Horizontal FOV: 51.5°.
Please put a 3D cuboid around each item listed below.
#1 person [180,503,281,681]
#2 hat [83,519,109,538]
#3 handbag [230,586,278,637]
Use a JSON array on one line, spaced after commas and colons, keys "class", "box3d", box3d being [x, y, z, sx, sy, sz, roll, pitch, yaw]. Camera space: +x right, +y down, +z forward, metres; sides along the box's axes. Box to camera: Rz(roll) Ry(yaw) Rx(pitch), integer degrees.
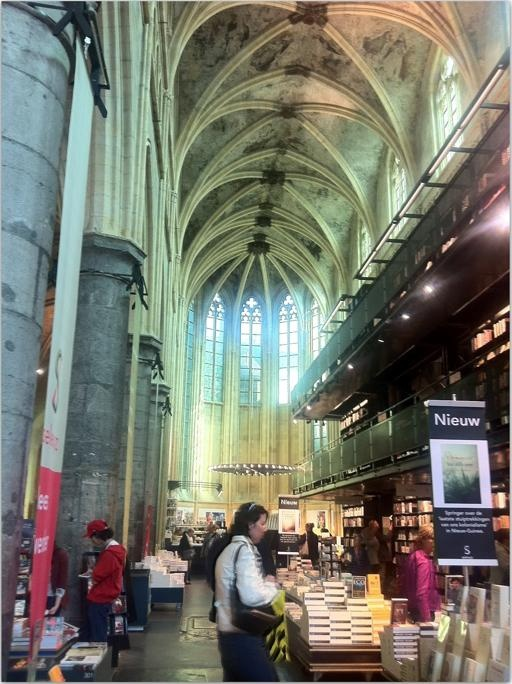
[{"class": "person", "box3d": [-0.059, 1.282, 2.712, 0.336, 0.840, 0.331, 2, -15, -4]}, {"class": "hat", "box3d": [-1.421, 1.626, 4.656, 0.232, 0.132, 0.166, -18, -14, 28]}, {"class": "handbag", "box3d": [-0.005, 1.356, 2.627, 0.158, 0.182, 0.183, 1, -18, -4]}]
